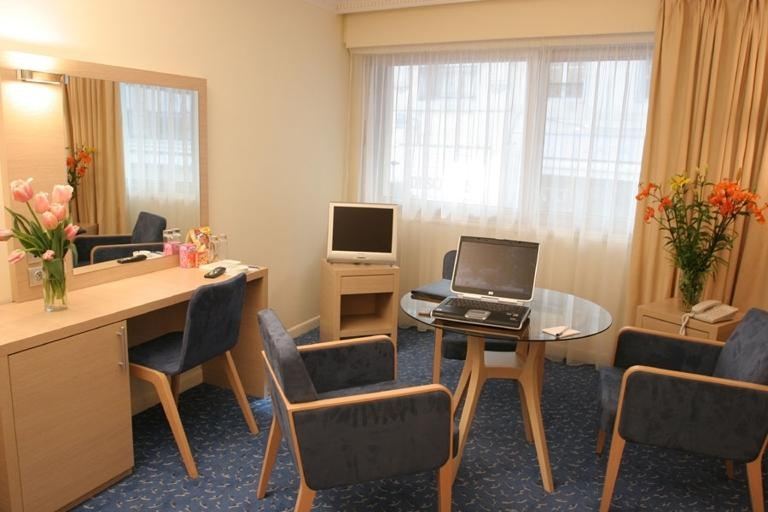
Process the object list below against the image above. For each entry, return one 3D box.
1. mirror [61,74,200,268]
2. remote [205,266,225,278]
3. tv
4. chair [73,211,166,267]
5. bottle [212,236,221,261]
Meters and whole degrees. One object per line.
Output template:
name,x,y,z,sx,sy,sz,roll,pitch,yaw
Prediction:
mirror,-1.775,-0.600,3.810,0.063,1.510,1.381,3,4,29
remote,-1.228,0.113,4.027,0.067,0.040,0.123,1,11,16
tv,-0.193,-0.202,4.997,0.525,0.467,0.070,3,4,-1
chair,-1.918,-0.161,3.968,0.348,0.505,0.403,21,17,41
bottle,-1.309,-0.064,4.321,0.020,0.187,0.081,8,14,29
